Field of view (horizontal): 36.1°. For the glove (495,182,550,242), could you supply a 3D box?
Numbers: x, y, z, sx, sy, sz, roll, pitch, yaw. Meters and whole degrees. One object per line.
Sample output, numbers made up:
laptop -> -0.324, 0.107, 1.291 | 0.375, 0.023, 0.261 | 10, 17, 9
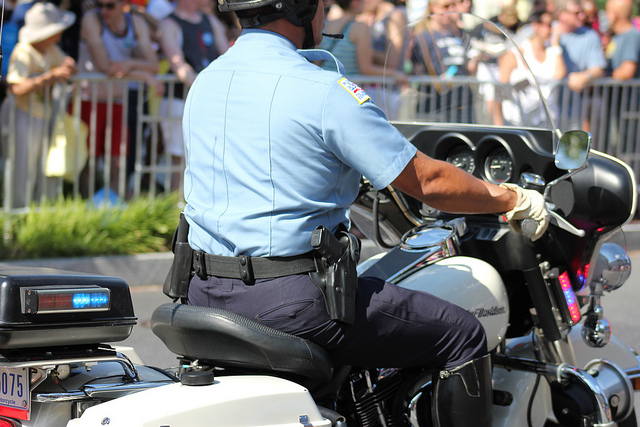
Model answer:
glove -> 1.167, 0.002, 5.633 | 0.306, 0.328, 0.185 | 4, 6, 7

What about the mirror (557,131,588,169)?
mirror -> 1.431, -0.353, 5.572 | 0.170, 0.255, 0.035 | 8, -2, 24
